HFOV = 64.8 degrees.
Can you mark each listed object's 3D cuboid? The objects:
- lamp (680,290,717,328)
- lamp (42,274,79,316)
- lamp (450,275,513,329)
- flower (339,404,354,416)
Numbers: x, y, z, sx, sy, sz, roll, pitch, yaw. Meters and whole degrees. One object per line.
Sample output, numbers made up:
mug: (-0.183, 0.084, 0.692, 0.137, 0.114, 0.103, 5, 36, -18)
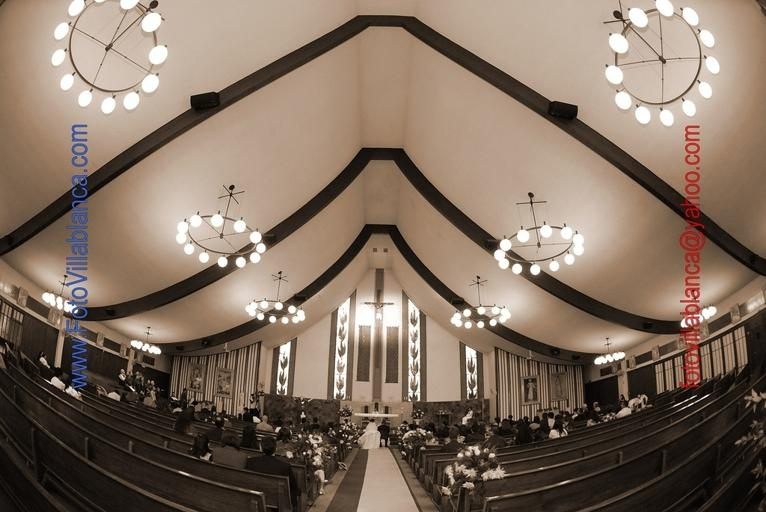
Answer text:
lamp: (9.567, 1.643, 18.565, 1.197, 1.362, 0.288, -3, 1, 37)
lamp: (-10.211, 1.154, 19.027, 0.743, 0.869, 0.741, -30, -52, 35)
lamp: (3.721, 1.511, 22.774, 1.437, 1.663, 1.559, -13, 11, -8)
flower: (-1.601, 6.818, 26.541, 0.455, 0.378, 0.516, -8, -47, -1)
